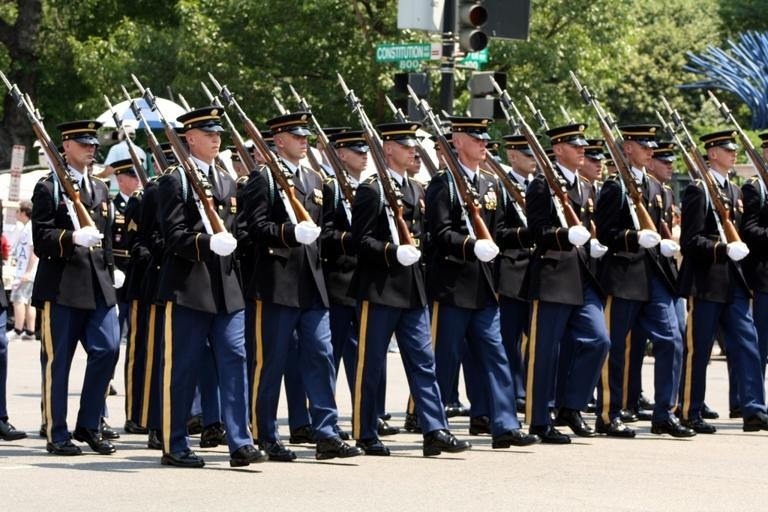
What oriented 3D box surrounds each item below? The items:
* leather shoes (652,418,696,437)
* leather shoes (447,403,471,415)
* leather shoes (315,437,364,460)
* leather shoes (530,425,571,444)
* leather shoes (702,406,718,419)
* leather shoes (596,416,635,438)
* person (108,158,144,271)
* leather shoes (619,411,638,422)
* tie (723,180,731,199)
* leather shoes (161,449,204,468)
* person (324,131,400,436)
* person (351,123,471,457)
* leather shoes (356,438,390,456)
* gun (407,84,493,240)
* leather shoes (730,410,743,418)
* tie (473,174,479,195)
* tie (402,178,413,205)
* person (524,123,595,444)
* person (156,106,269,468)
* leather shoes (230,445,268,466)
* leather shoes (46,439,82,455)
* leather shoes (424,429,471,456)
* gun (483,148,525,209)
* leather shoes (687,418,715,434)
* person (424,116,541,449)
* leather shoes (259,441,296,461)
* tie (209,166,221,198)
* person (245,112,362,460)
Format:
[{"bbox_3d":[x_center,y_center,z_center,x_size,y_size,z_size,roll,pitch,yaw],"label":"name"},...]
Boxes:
[{"bbox_3d":[3.257,1.912,16.902,0.553,0.223,0.191,-1,4,15],"label":"leather shoes"},{"bbox_3d":[0.937,1.830,18.133,0.152,0.175,0.447,-3,-3,40],"label":"leather shoes"},{"bbox_3d":[-0.439,1.963,15.452,0.507,0.219,0.193,-2,-1,0],"label":"leather shoes"},{"bbox_3d":[1.845,1.939,16.486,0.531,0.198,0.178,0,2,-8],"label":"leather shoes"},{"bbox_3d":[3.965,1.860,18.065,0.121,0.137,0.350,-2,0,26],"label":"leather shoes"},{"bbox_3d":[2.625,1.946,17.064,0.510,0.201,0.183,1,-5,17],"label":"leather shoes"},{"bbox_3d":[-3.144,-0.501,18.059,0.509,1.400,0.525,2,-1,3],"label":"person"},{"bbox_3d":[2.943,1.893,17.916,0.123,0.134,0.343,1,2,24],"label":"leather shoes"},{"bbox_3d":[4.019,-0.793,17.441,0.051,0.175,0.134,-5,-29,15],"label":"tie"},{"bbox_3d":[-2.051,2.050,15.297,0.409,0.132,0.179,-2,-6,16],"label":"leather shoes"},{"bbox_3d":[0.138,0.322,16.281,1.128,3.440,1.070,0,-1,-3],"label":"person"},{"bbox_3d":[0.182,0.352,15.680,1.021,3.485,0.645,1,7,-1],"label":"person"},{"bbox_3d":[-0.109,1.996,15.788,0.445,0.167,0.138,3,4,-6],"label":"leather shoes"},{"bbox_3d":[0.837,-1.009,16.066,0.721,1.624,0.877,2,0,-17],"label":"gun"},{"bbox_3d":[4.209,1.849,17.799,0.172,0.094,0.162,1,4,12],"label":"leather shoes"},{"bbox_3d":[0.993,-0.779,16.029,0.051,0.227,0.064,-28,-37,34],"label":"tie"},{"bbox_3d":[0.251,-0.690,15.732,0.142,0.219,0.057,4,-17,-24],"label":"tie"},{"bbox_3d":[2.086,0.279,16.561,1.078,3.533,1.203,5,-9,-16],"label":"person"},{"bbox_3d":[-1.813,0.317,15.348,1.191,3.509,1.321,1,-1,-16],"label":"person"},{"bbox_3d":[-1.380,2.005,15.225,0.376,0.156,0.176,-13,-2,25],"label":"leather shoes"},{"bbox_3d":[-3.394,1.999,15.753,0.403,0.162,0.143,-2,-4,19],"label":"leather shoes"},{"bbox_3d":[0.649,1.927,15.633,0.537,0.271,0.214,-7,0,13],"label":"leather shoes"},{"bbox_3d":[1.385,-0.872,17.053,0.122,0.376,1.733,-38,23,2],"label":"gun"},{"bbox_3d":[3.617,1.949,17.274,0.427,0.158,0.133,3,-1,-8],"label":"leather shoes"},{"bbox_3d":[1.032,0.249,15.975,1.203,3.328,1.474,-2,5,-29],"label":"person"},{"bbox_3d":[-1.092,2.009,15.558,0.419,0.149,0.168,6,0,21],"label":"leather shoes"},{"bbox_3d":[-1.739,-0.766,15.286,0.095,0.339,0.071,28,-42,-28],"label":"tie"},{"bbox_3d":[-0.860,0.292,15.549,1.219,3.536,1.452,2,-4,-30],"label":"person"}]
